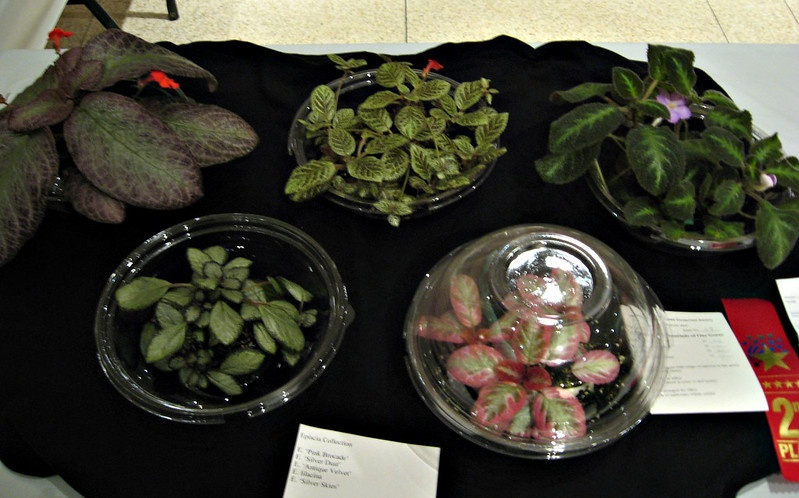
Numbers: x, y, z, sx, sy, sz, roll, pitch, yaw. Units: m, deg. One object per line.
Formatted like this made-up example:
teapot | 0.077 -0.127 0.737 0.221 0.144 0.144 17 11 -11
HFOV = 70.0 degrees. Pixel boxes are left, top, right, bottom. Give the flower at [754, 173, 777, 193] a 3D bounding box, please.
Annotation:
flower | 0.783 -0.142 1.218 0.038 0.037 0.030 13 78 4

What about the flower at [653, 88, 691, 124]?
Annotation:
flower | 0.612 -0.313 1.297 0.093 0.029 0.084 -10 81 -6

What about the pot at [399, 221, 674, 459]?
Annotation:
pot | 0.309 0.152 1.122 0.513 0.161 0.465 10 53 6

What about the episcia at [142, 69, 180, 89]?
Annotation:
episcia | -0.525 -0.370 1.239 0.089 0.020 0.039 31 97 25

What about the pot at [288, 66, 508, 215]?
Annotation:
pot | -0.005 -0.193 1.359 0.436 0.153 0.362 -38 73 -15
